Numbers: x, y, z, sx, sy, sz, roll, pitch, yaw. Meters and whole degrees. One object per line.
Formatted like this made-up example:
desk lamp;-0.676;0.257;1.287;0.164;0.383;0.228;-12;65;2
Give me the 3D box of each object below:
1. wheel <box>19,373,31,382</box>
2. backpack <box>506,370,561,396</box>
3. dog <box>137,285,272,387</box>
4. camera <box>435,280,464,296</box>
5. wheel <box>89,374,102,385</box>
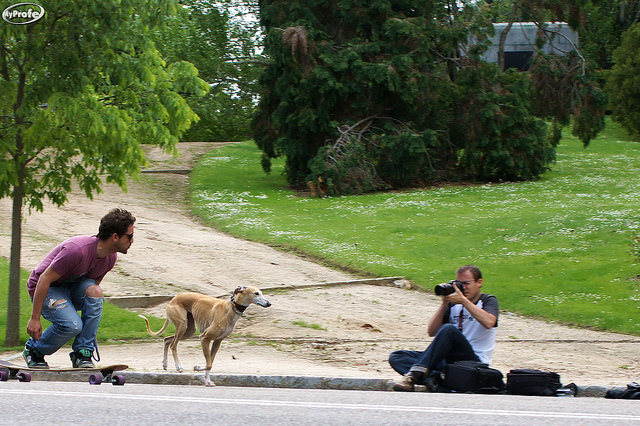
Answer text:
wheel;-6.832;3.830;28.456;0.342;0.202;0.213;4;-35;-30
backpack;5.028;4.000;28.698;1.255;0.565;0.303;1;5;4
dog;-2.732;2.966;29.774;2.258;2.371;1.017;4;6;26
camera;3.052;1.779;28.712;0.516;0.205;0.550;-4;-4;41
wheel;-5.125;3.871;28.276;0.425;0.238;0.237;2;-40;-4
